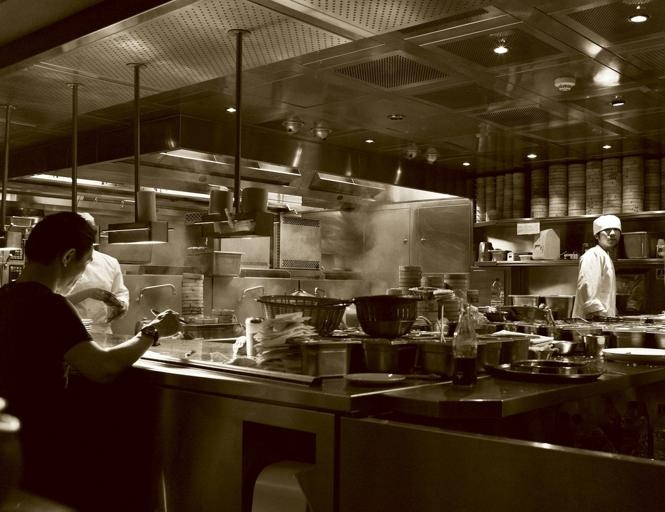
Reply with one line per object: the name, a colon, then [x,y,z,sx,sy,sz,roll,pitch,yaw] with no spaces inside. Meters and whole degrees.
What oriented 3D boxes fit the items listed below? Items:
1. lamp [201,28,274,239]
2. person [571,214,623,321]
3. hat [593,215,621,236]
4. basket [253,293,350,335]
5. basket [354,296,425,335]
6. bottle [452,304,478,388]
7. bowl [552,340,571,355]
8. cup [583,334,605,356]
lamp: [-0.592,-0.684,4.016,0.446,1.186,1.683,4,4,-9]
person: [2.457,0.087,5.738,0.364,0.972,1.354,7,5,25]
hat: [2.695,-0.286,6.142,0.232,0.162,0.222,3,-4,-6]
basket: [-0.150,0.276,2.977,0.287,0.183,0.462,1,5,-39]
basket: [0.264,0.276,2.905,0.262,0.136,0.251,0,-5,5]
bottle: [0.522,0.345,2.446,0.101,0.314,0.120,6,4,13]
bowl: [1.230,0.495,3.334,0.085,0.068,0.082,4,4,0]
cup: [1.382,0.476,3.308,0.102,0.097,0.118,3,-6,-28]
